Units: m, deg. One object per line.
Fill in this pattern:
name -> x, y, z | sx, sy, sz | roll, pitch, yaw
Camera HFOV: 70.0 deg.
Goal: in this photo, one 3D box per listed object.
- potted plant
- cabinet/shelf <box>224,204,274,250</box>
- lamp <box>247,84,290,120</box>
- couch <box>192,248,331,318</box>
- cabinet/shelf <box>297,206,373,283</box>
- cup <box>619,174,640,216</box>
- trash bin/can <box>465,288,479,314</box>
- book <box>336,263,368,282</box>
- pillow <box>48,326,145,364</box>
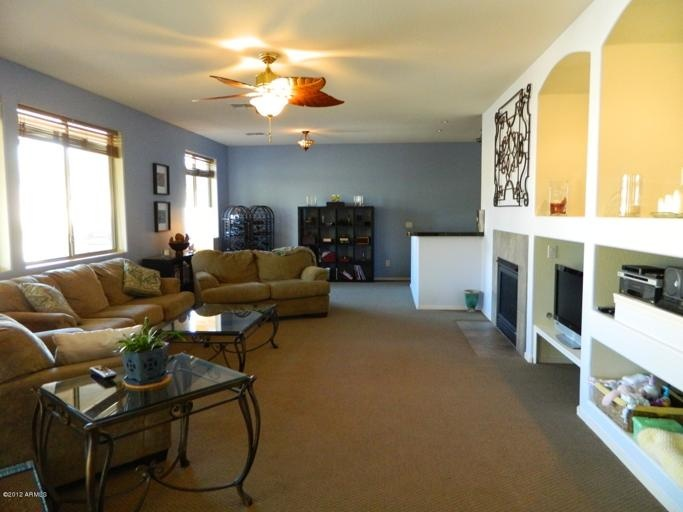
potted plant -> -1.267, 0.595, 3.133 | 0.360, 0.373, 0.396 | 2, 1, 8
cabinet/shelf -> -1.924, -0.542, 10.031 | 1.017, 0.981, 0.636 | -3, 6, -24
lamp -> -0.690, -1.498, 4.678 | 0.350, 0.244, 0.331 | -2, 5, -11
couch -> -1.119, 0.381, 6.828 | 1.787, 0.936, 1.015 | -5, 8, -18
cabinet/shelf -> -0.123, -0.280, 9.975 | 1.541, 1.539, 0.430 | -1, 13, -3
cup -> 2.048, -0.431, 3.458 | 0.119, 0.292, 0.177 | 2, 9, 29
trash bin/can -> 1.857, 0.631, 6.993 | 0.213, 0.293, 0.276 | 0, 8, 17
book -> 0.216, 0.344, 9.856 | 0.517, 0.355, 0.119 | 2, -8, 0
pillow -> -1.681, 0.610, 3.331 | 0.156, 0.222, 0.505 | 9, 8, 44
